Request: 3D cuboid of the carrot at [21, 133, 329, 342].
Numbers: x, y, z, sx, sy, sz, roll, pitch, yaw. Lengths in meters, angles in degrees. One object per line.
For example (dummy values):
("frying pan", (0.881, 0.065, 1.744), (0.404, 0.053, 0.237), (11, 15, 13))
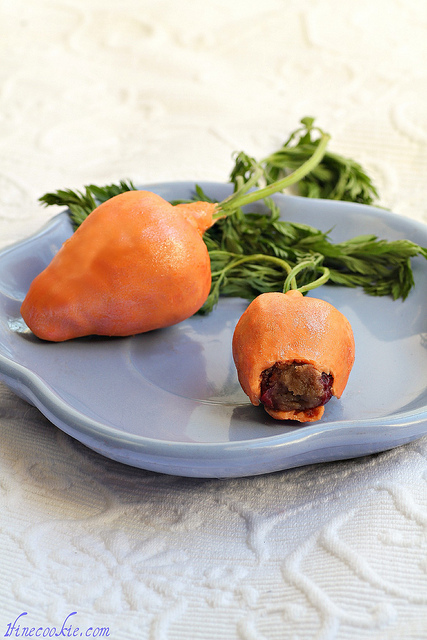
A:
("carrot", (-0.017, -0.085, 0.638), (0.292, 0.084, 0.081), (-21, 45, -8))
